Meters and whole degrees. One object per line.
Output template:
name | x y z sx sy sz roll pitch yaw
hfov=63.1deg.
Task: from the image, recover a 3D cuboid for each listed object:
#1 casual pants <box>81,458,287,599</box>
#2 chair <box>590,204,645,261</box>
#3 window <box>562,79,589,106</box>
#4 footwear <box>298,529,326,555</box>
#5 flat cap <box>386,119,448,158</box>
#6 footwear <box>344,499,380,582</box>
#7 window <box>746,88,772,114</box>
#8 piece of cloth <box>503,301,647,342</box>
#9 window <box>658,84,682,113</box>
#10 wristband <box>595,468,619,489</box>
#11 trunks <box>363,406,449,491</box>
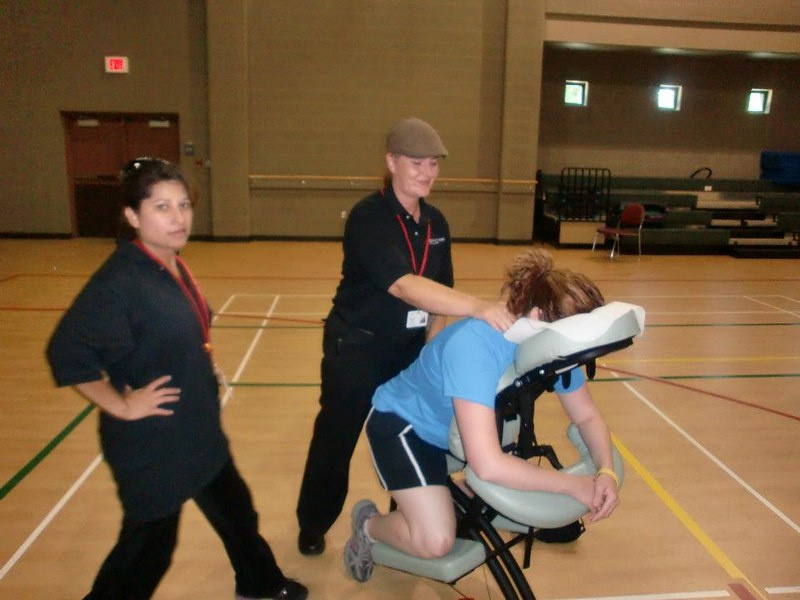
casual pants | -0.964 1.039 2.877 0.756 0.846 0.314 -5 12 -43
chair | 3.919 -1.247 11.686 0.661 0.976 0.604 -4 16 -17
window | 3.741 -4.440 14.194 0.628 0.596 0.454 2 3 -12
footwear | -0.454 1.235 3.343 0.140 0.059 0.136 12 -19 -37
flat cap | 0.070 -0.770 3.109 0.261 0.127 0.190 11 18 26
footwear | -0.197 1.157 3.149 0.165 0.386 0.181 -2 20 -5
window | 8.071 -4.486 14.621 0.573 0.541 0.116 -5 11 -13
piece of cloth | 0.669 0.077 2.445 0.344 0.115 0.209 -15 20 -12
window | 5.902 -4.468 14.341 0.542 0.560 0.140 -5 11 -14
wristband | 0.862 0.731 2.707 0.079 0.030 0.075 36 -26 -11
trunks | 0.042 0.655 2.921 0.236 0.362 0.281 -31 -36 9
